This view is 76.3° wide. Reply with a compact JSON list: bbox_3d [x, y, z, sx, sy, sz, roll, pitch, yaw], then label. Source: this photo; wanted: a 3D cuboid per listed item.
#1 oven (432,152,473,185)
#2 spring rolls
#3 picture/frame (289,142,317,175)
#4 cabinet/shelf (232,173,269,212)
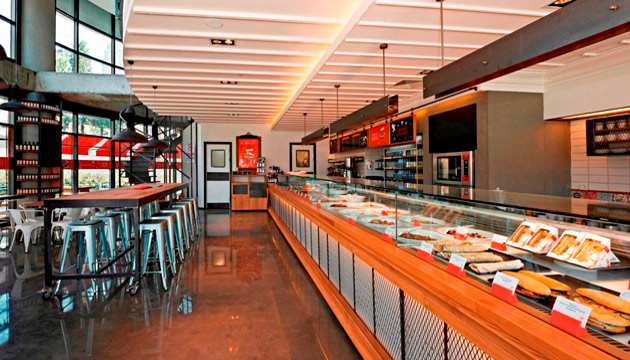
[{"bbox_3d":[3.283,-0.250,9.111,0.656,0.675,1.101,-3,3,-31],"label":"oven"},{"bbox_3d":[1.907,0.898,4.759,0.999,0.317,0.338,-1,-1,5],"label":"spring rolls"},{"bbox_3d":[-0.492,-0.803,14.310,1.455,1.435,0.075,0,2,-23],"label":"picture/frame"},{"bbox_3d":[-2.267,0.427,13.865,1.222,1.255,0.326,0,3,-6],"label":"cabinet/shelf"}]
